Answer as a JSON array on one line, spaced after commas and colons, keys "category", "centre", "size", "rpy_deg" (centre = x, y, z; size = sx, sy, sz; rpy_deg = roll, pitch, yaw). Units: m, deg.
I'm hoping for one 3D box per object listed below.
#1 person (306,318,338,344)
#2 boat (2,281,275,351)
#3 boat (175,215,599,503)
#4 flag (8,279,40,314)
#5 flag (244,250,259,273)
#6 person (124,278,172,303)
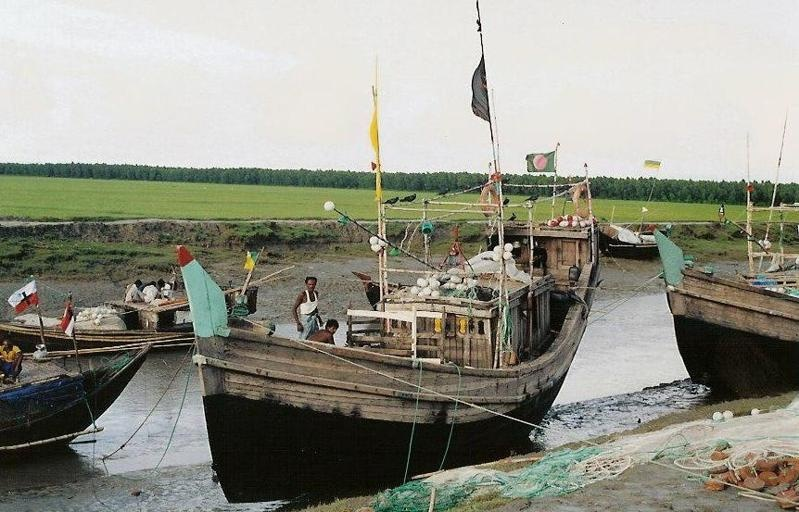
[{"category": "person", "centre": [-2.130, 2.144, 27.607], "size": [0.693, 0.628, 1.717], "rpy_deg": [5, 9, 0]}, {"category": "boat", "centre": [-9.315, 2.175, 34.977], "size": [12.179, 2.074, 2.726], "rpy_deg": [1, -3, -37]}, {"category": "boat", "centre": [0.629, 2.967, 28.909], "size": [5.287, 7.792, 13.396], "rpy_deg": [13, 13, 43]}, {"category": "flag", "centre": [-14.230, 1.526, 37.370], "size": [1.204, 1.102, 0.202], "rpy_deg": [-21, 4, 10]}, {"category": "flag", "centre": [-5.649, 0.211, 37.673], "size": [0.070, 0.953, 0.867], "rpy_deg": [-10, 44, -38]}, {"category": "person", "centre": [-10.081, 1.395, 39.246], "size": [1.160, 0.609, 1.445], "rpy_deg": [-1, 5, -17]}]
